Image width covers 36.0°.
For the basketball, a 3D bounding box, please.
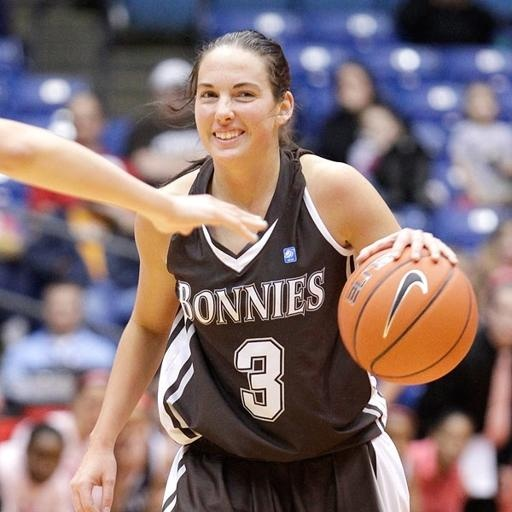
[{"bbox_3d":[0.449,0.178,2.324,0.382,0.295,0.269,5,39,1],"label":"basketball"}]
